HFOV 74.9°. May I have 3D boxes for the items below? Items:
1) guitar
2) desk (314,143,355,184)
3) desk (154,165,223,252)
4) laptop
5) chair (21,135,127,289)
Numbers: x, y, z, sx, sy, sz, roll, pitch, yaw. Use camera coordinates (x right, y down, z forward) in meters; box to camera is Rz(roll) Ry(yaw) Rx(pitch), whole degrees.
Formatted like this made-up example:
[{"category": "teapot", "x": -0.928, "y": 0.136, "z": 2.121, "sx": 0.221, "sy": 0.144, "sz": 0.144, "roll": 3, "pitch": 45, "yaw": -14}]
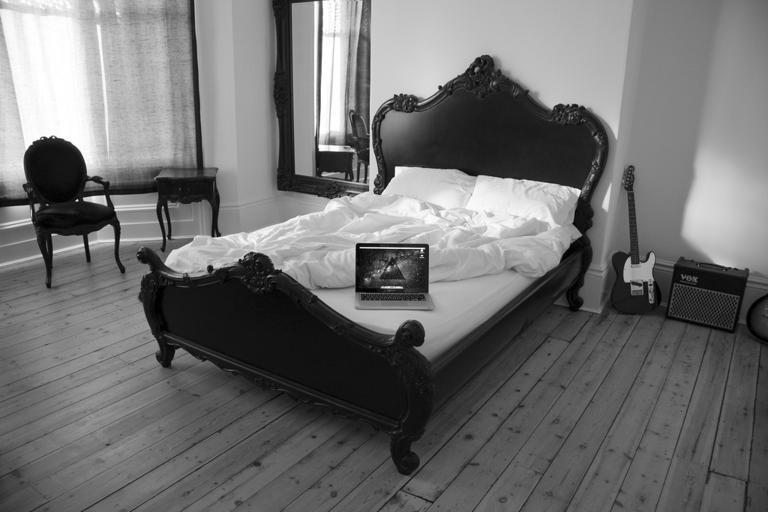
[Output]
[{"category": "guitar", "x": 2.417, "y": -0.135, "z": 4.714, "sx": 0.471, "sy": 1.344, "sz": 0.473, "roll": 8, "pitch": 22, "yaw": 23}, {"category": "desk", "x": -0.625, "y": -1.144, "z": 6.213, "sx": 0.659, "sy": 0.417, "sz": 0.497, "roll": 0, "pitch": 17, "yaw": -13}, {"category": "desk", "x": -2.344, "y": -0.545, "z": 6.000, "sx": 0.703, "sy": 0.859, "sz": 0.591, "roll": -2, "pitch": 17, "yaw": -11}, {"category": "laptop", "x": 0.065, "y": 0.131, "z": 3.210, "sx": 0.561, "sy": 0.340, "sz": 0.461, "roll": -1, "pitch": 11, "yaw": -12}, {"category": "chair", "x": -3.213, "y": -0.501, "z": 5.170, "sx": 0.741, "sy": 1.391, "sz": 0.742, "roll": -13, "pitch": 23, "yaw": -30}]
